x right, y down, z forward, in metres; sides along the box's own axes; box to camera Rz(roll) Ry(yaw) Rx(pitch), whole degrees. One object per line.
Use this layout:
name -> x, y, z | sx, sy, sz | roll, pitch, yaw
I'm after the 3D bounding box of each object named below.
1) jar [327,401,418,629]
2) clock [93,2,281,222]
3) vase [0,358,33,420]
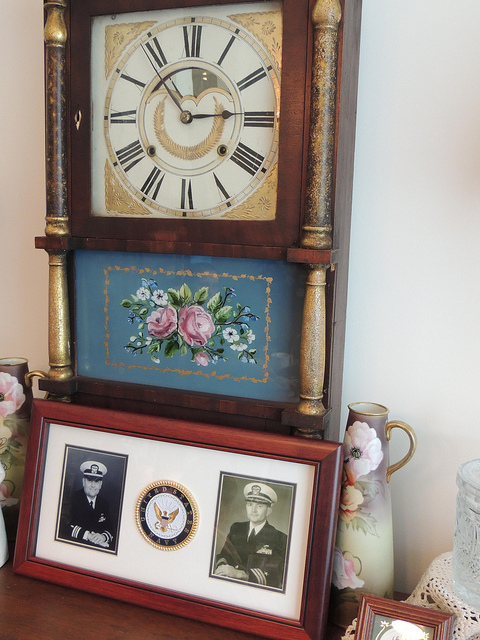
jar -> 0.176, 0.273, 0.936 | 0.134, 0.346, 0.109 | 2, 6, 3
clock -> -0.067, -0.310, 0.944 | 0.320, 0.319, 0.034 | 5, 12, 25
vase -> -0.400, 0.120, 1.147 | 0.060, 0.114, 0.092 | 4, -10, -17
